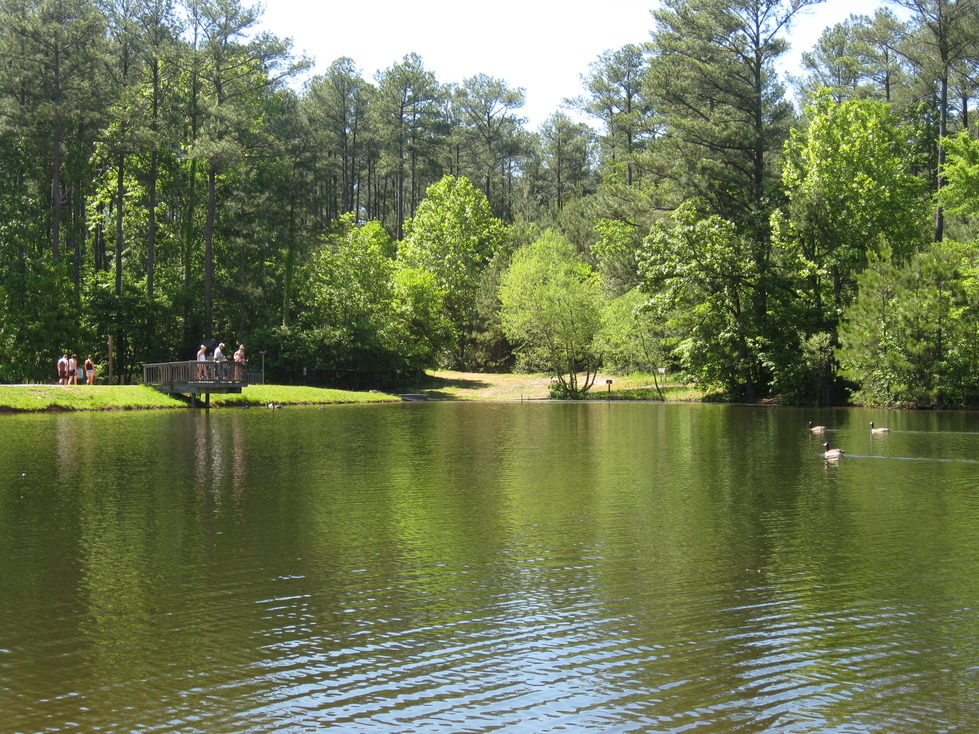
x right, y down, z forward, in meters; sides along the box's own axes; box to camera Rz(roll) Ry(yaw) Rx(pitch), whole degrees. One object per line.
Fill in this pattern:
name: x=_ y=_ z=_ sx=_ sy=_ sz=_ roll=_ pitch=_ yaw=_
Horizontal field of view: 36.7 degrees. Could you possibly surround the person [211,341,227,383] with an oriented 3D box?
person: x=-14.982 y=-0.132 z=81.696 sx=0.801 sy=1.887 sz=1.031 roll=-1 pitch=7 yaw=-8
